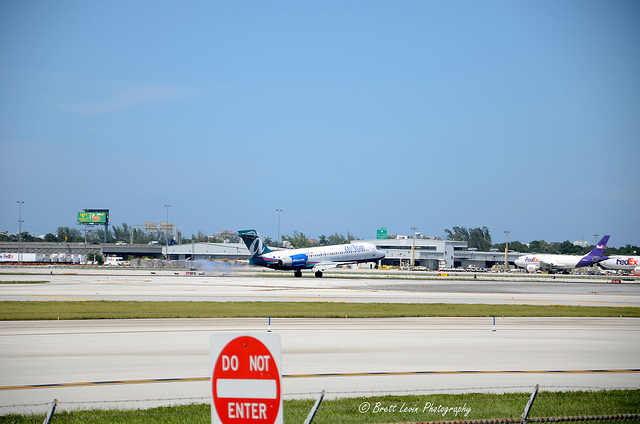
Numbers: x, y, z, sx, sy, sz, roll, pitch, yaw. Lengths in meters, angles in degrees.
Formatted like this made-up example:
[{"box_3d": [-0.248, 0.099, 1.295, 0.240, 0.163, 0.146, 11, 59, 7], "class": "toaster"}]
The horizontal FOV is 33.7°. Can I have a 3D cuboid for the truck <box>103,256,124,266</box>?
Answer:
[{"box_3d": [-35.580, 8.092, 178.642, 2.920, 1.546, 1.923, -1, 2, 7], "class": "truck"}]

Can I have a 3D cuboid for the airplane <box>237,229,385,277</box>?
[{"box_3d": [-1.320, 5.111, 132.334, 5.099, 5.412, 17.739, -3, -4, 43], "class": "airplane"}]

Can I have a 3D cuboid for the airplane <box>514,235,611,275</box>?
[{"box_3d": [38.079, 6.751, 167.109, 7.704, 5.586, 24.504, 0, -3, -9], "class": "airplane"}]
